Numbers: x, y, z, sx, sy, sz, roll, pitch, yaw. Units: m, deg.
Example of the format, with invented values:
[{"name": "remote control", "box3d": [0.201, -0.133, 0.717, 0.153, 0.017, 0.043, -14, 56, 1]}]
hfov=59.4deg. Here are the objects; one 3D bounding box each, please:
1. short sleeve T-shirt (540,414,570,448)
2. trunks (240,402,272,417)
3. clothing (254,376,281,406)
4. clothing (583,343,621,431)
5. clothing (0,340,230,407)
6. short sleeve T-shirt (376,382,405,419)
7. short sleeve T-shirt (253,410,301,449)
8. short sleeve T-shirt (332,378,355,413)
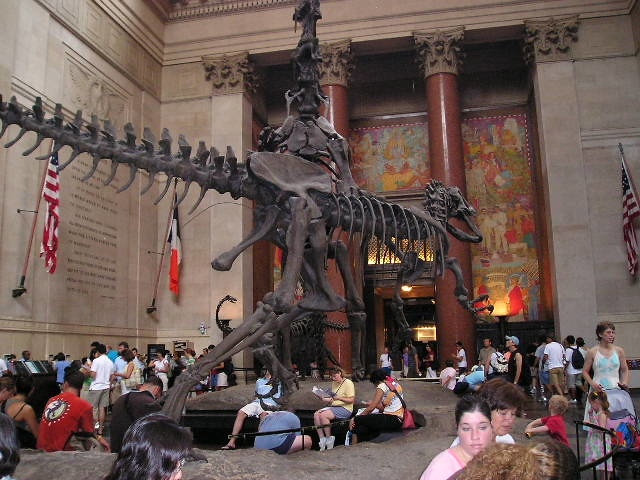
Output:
[{"name": "short sleeve T-shirt", "box3d": [2.604, 2.147, 6.165, 0.246, 0.387, 0.356, -7, -11, 41]}, {"name": "trunks", "box3d": [-0.987, 2.516, 8.277, 0.278, 0.115, 0.292, 1, -1, -23]}, {"name": "clothing", "box3d": [-0.740, 2.204, 8.069, 0.339, 0.499, 0.237, 2, 1, 31]}, {"name": "clothing", "box3d": [3.529, 1.925, 6.938, 0.372, 1.381, 0.313, -2, -4, 6]}, {"name": "clothing", "box3d": [-3.601, 2.358, 9.722, 3.034, 1.191, 0.822, 4, -13, -10]}, {"name": "short sleeve T-shirt", "box3d": [0.925, 2.168, 7.493, 0.421, 0.527, 0.278, 9, -21, -33]}, {"name": "short sleeve T-shirt", "box3d": [-0.509, 2.215, 6.556, 0.370, 0.462, 0.494, -20, -44, 26]}, {"name": "short sleeve T-shirt", "box3d": [0.320, 2.211, 7.904, 0.383, 0.427, 0.241, -16, -34, 36]}]
